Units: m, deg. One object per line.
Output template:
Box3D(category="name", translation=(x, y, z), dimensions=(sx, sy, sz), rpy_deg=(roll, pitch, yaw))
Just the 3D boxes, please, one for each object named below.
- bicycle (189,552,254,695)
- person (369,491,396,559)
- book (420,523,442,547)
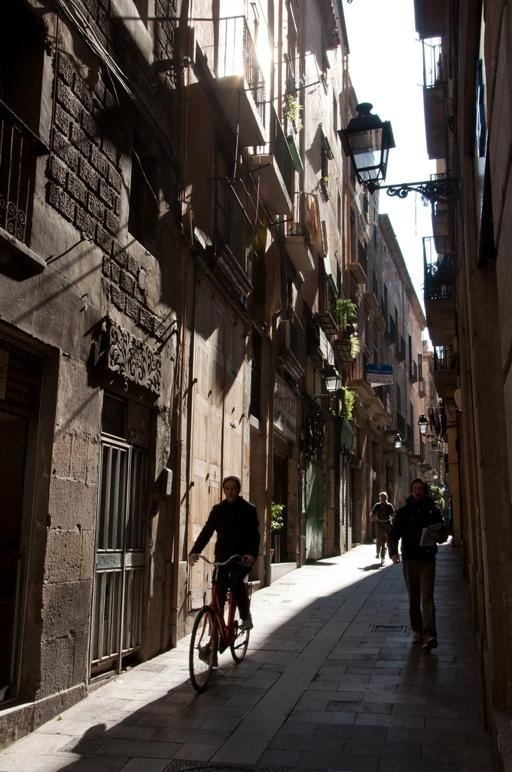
Box3D(category="bicycle", translation=(-0.277, 2.337, 5.904), dimensions=(0.383, 1.233, 1.572), rpy_deg=(-3, -27, 13))
Box3D(category="person", translation=(3.421, 3.783, 17.187), dimensions=(0.346, 2.055, 0.469), rpy_deg=(4, 13, 16))
Box3D(category="book", translation=(1.966, 1.694, 7.213), dimensions=(0.344, 0.230, 0.209), rpy_deg=(8, -21, -38))
